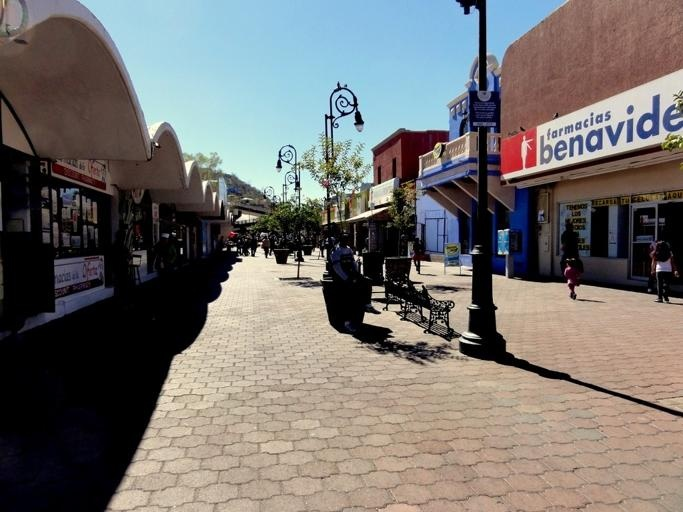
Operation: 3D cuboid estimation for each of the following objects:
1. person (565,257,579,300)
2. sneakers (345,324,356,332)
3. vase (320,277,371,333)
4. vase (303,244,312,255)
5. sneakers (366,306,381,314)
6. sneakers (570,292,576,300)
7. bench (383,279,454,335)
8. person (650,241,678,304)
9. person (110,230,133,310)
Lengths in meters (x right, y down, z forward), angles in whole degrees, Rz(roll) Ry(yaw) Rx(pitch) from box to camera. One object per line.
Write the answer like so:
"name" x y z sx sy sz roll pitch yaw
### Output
"person" 6.127 0.555 13.846 0.361 1.062 1.516 4 11 24
"sneakers" 0.167 1.368 10.013 0.257 0.135 0.167 5 11 24
"vase" 0.062 0.993 10.526 0.845 0.915 0.979 0 -6 -6
"vase" -2.753 -0.530 41.455 0.550 0.831 1.102 -2 4 0
"sneakers" 0.701 1.220 11.811 0.357 0.173 0.131 0 4 -5
"sneakers" 6.008 1.029 13.409 0.085 0.180 0.249 -1 -15 -4
"bench" 1.626 1.025 10.971 0.851 0.818 3.045 -2 10 -10
"person" 7.695 0.366 12.367 0.412 1.461 0.702 0 9 2
"person" -6.526 0.274 15.467 0.552 2.167 0.583 6 18 5
